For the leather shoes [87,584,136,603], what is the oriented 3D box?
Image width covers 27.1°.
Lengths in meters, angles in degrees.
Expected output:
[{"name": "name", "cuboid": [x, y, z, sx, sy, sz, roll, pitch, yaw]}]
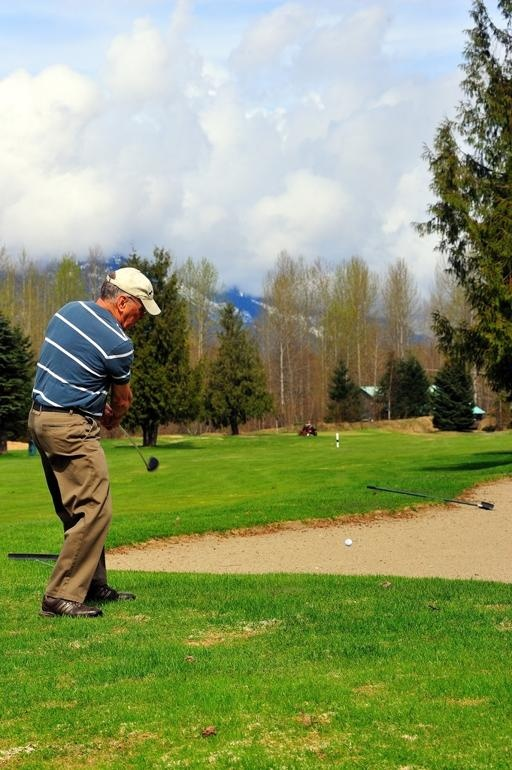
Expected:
[{"name": "leather shoes", "cuboid": [-1.036, 1.534, 7.695, 0.368, 0.154, 0.127, -1, 3, -10]}]

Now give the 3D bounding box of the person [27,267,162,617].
[{"name": "person", "cuboid": [-1.141, 0.367, 7.346, 0.804, 1.870, 0.585, -1, 0, -29]}]

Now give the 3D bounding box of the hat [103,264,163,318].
[{"name": "hat", "cuboid": [-0.825, -0.717, 7.513, 0.417, 0.244, 0.270, 29, 16, -19]}]

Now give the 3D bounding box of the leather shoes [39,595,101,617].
[{"name": "leather shoes", "cuboid": [-1.225, 1.488, 7.178, 0.416, 0.190, 0.151, 0, -3, 6]}]
